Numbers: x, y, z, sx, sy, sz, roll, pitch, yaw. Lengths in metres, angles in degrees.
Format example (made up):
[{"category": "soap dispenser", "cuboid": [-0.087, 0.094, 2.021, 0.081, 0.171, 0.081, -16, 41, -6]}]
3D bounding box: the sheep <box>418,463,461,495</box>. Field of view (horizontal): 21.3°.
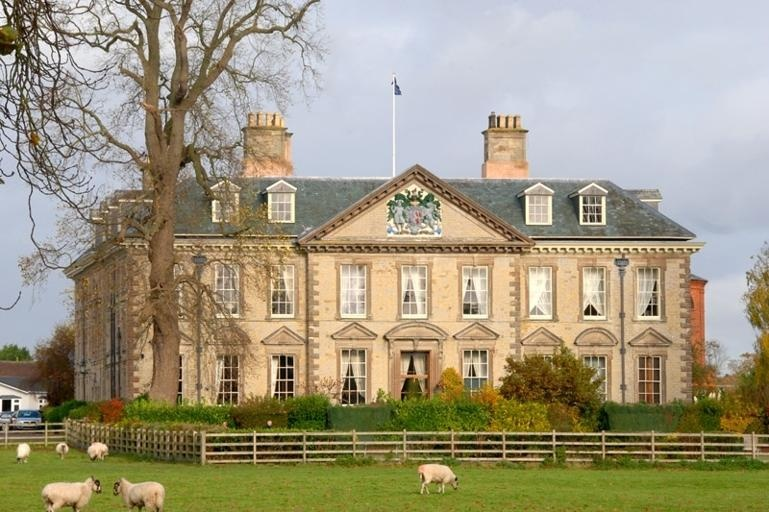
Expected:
[{"category": "sheep", "cuboid": [2.376, 9.860, 91.819, 1.802, 1.372, 2.125, -1, -11, 2]}]
